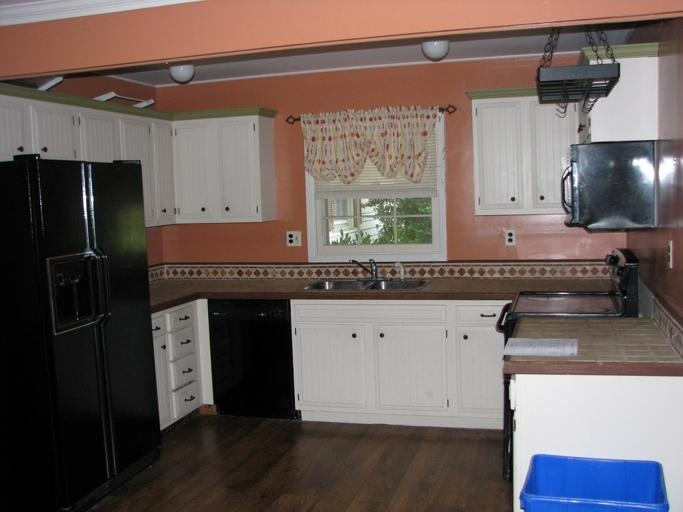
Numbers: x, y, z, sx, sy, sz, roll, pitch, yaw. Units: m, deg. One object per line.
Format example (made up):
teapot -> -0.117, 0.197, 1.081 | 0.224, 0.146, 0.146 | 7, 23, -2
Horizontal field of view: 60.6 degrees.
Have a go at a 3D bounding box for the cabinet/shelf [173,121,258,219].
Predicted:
cabinet/shelf -> -1.088, -0.782, 5.104 | 0.759, 1.008, 0.351 | 0, 5, 12

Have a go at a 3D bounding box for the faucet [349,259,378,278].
faucet -> 0.187, 0.104, 5.089 | 0.249, 0.174, 0.216 | -3, 10, 0

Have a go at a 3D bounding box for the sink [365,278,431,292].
sink -> 0.443, 0.235, 4.982 | 0.528, 0.083, 0.181 | -2, 10, 8

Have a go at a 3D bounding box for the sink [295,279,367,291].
sink -> -0.049, 0.253, 5.053 | 0.519, 0.079, 0.301 | -3, 10, 4

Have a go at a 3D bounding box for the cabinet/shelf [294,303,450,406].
cabinet/shelf -> 0.286, 0.691, 4.820 | 1.354, 1.043, 0.766 | 0, -1, 11

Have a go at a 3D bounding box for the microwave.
microwave -> 1.651, -0.416, 3.684 | 0.464, 0.581, 0.598 | 1, 2, 15
